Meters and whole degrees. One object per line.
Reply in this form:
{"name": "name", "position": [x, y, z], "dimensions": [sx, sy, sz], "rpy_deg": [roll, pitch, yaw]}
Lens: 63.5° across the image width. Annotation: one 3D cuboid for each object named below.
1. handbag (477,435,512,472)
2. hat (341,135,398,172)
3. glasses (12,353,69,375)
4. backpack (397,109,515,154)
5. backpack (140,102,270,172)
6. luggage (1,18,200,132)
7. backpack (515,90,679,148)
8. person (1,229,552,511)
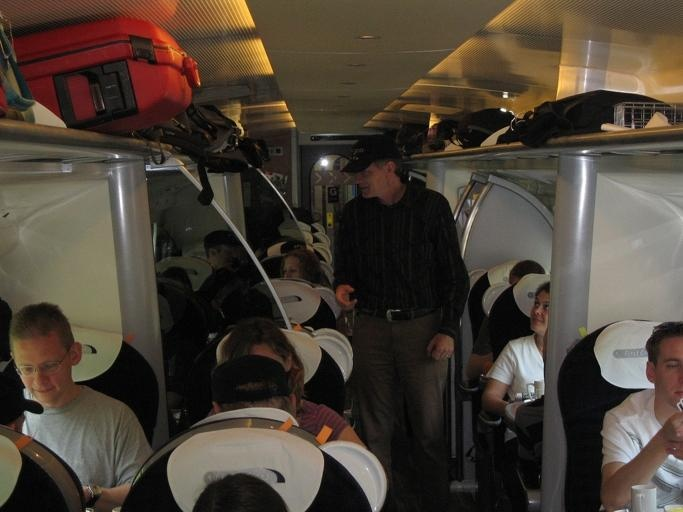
{"name": "handbag", "position": [0.883, 1.145, 3.205], "dimensions": [0.093, 0.227, 0.175], "rpy_deg": [6, -2, -35]}
{"name": "hat", "position": [0.172, -0.636, 3.466], "dimensions": [0.320, 0.153, 0.218], "rpy_deg": [-5, 11, -10]}
{"name": "glasses", "position": [-1.016, 0.373, 1.887], "dimensions": [0.036, 0.038, 0.180], "rpy_deg": [-1, 2, 27]}
{"name": "backpack", "position": [0.949, -1.008, 4.476], "dimensions": [0.739, 0.279, 0.516], "rpy_deg": [-11, 6, -12]}
{"name": "backpack", "position": [-0.627, -0.563, 2.693], "dimensions": [0.550, 0.215, 0.302], "rpy_deg": [20, 6, -38]}
{"name": "luggage", "position": [-0.806, -0.597, 1.976], "dimensions": [0.626, 0.275, 0.407], "rpy_deg": [-7, 20, 7]}
{"name": "backpack", "position": [1.075, -0.561, 2.247], "dimensions": [0.609, 0.210, 0.455], "rpy_deg": [-2, 2, -6]}
{"name": "person", "position": [-0.617, 0.494, 2.235], "dimensions": [1.272, 0.745, 0.499], "rpy_deg": [-3, 2, -25]}
